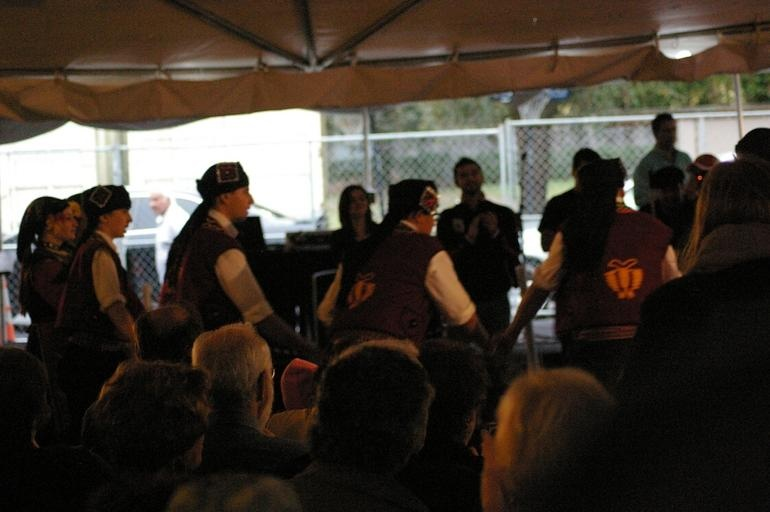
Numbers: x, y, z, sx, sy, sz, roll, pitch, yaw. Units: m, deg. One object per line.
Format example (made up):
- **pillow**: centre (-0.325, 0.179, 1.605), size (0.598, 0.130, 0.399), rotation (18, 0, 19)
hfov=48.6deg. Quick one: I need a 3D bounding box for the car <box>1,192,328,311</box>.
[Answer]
- **car**: centre (-2.972, -0.140, 10.540), size (4.290, 1.658, 1.967), rotation (1, -1, 0)
